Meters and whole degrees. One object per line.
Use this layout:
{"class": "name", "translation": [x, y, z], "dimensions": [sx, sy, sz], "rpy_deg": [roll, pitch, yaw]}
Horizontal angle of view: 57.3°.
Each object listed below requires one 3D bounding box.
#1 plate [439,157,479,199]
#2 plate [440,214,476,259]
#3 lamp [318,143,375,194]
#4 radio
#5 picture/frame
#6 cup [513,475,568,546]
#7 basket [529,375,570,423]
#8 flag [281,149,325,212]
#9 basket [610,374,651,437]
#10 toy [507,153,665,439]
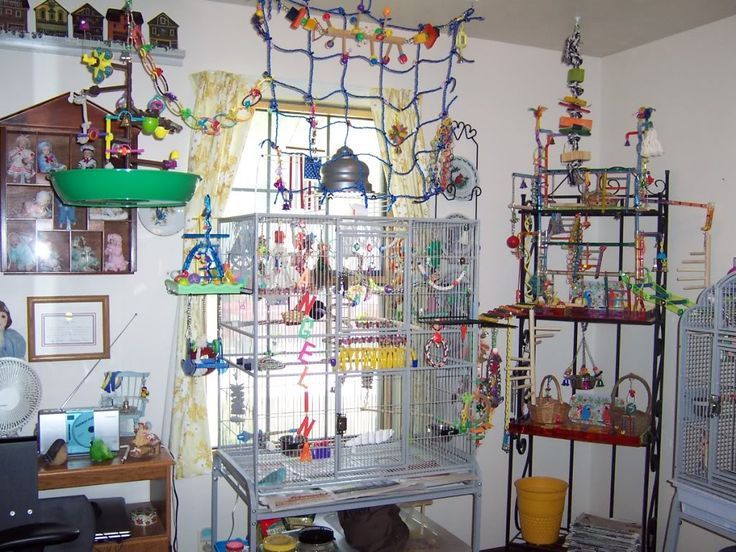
{"class": "plate", "translation": [0.661, -0.719, 4.942], "dimensions": [0.265, 0.246, 0.154], "rpy_deg": [1, 0, -29]}
{"class": "plate", "translation": [0.566, -0.235, 4.280], "dimensions": [0.265, 0.403, 0.042], "rpy_deg": [0, 0, -26]}
{"class": "lamp", "translation": [-0.129, -0.615, 3.867], "dimensions": [0.248, 0.262, 0.255], "rpy_deg": [0, 3, 39]}
{"class": "radio", "translation": [-1.683, 0.963, 3.954], "dimensions": [0.448, 0.303, 0.164], "rpy_deg": [5, -43, -33]}
{"class": "picture/frame", "translation": [-1.865, 0.324, 4.165], "dimensions": [0.377, 0.389, 0.027], "rpy_deg": [-1, -1, -19]}
{"class": "cup", "translation": [1.245, 1.686, 4.931], "dimensions": [0.381, 0.425, 0.418], "rpy_deg": [-1, -1, 0]}
{"class": "basket", "translation": [1.239, 0.888, 4.788], "dimensions": [0.263, 0.399, 0.389], "rpy_deg": [-1, -9, 18]}
{"class": "flag", "translation": [-0.446, -0.632, 4.500], "dimensions": [0.380, 0.516, 0.039], "rpy_deg": [-1, 7, -9]}
{"class": "basket", "translation": [1.821, 0.913, 4.682], "dimensions": [0.300, 0.576, 0.294], "rpy_deg": [3, 9, 23]}
{"class": "toy", "translation": [1.571, 0.096, 4.902], "dimensions": [1.101, 1.831, 1.297], "rpy_deg": [1, 0, 24]}
